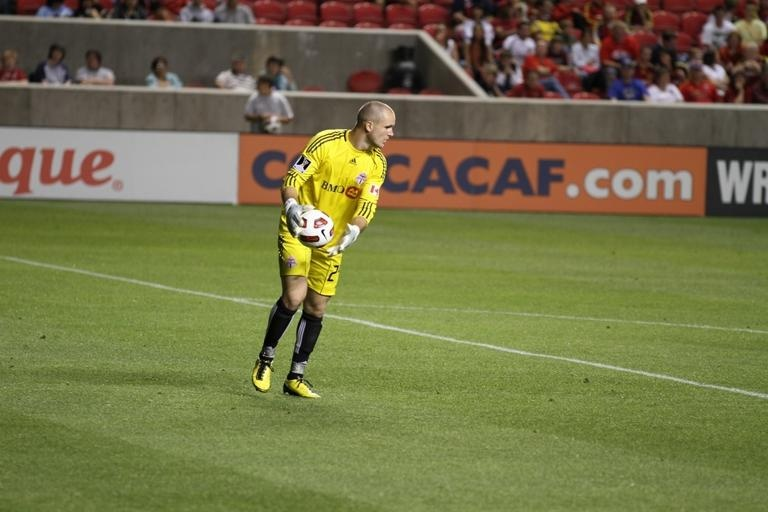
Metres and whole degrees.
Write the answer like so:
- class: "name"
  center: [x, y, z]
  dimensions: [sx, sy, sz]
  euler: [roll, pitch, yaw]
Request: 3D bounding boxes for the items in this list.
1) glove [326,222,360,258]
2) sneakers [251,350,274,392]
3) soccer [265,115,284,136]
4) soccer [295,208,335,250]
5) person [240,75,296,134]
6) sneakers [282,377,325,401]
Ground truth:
- class: "glove"
  center: [-0.358, -0.150, 12.095]
  dimensions: [0.112, 0.425, 0.213]
  euler: [29, 24, -56]
- class: "sneakers"
  center: [-1.275, 1.218, 12.273]
  dimensions: [0.195, 0.439, 0.184]
  euler: [2, -15, -27]
- class: "soccer"
  center: [-2.108, -2.470, 22.216]
  dimensions: [0.305, 0.368, 0.376]
  euler: [11, -2, -11]
- class: "soccer"
  center: [-0.690, -0.281, 12.003]
  dimensions: [0.416, 0.428, 0.399]
  euler: [-3, 9, 9]
- class: "person"
  center: [-2.248, -2.770, 22.499]
  dimensions: [1.128, 1.334, 0.797]
  euler: [7, 21, 12]
- class: "sneakers"
  center: [-0.866, 1.396, 12.216]
  dimensions: [0.457, 0.186, 0.166]
  euler: [8, 6, -9]
